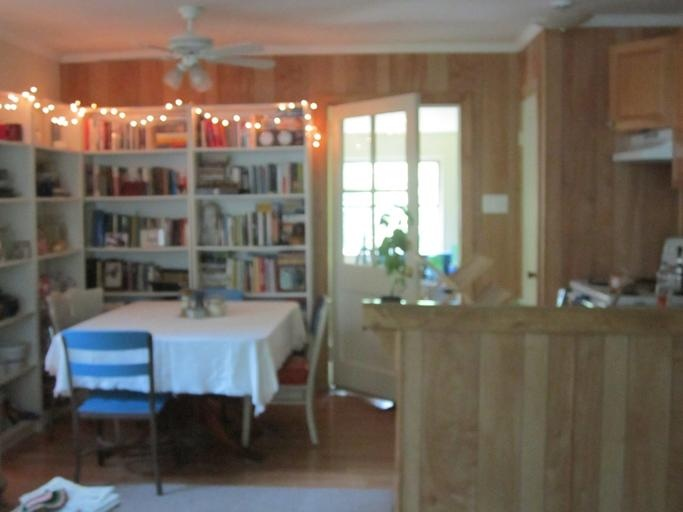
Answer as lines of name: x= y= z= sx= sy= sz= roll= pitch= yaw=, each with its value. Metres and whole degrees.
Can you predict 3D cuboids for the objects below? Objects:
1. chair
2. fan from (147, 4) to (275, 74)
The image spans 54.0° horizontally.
chair: x=-0.672 y=0.579 z=3.019 sx=1.197 sy=0.776 sz=0.663 roll=-4 pitch=6 yaw=-23
fan: x=-0.554 y=-0.888 z=2.937 sx=0.456 sy=0.175 sz=0.414 roll=0 pitch=9 yaw=5
